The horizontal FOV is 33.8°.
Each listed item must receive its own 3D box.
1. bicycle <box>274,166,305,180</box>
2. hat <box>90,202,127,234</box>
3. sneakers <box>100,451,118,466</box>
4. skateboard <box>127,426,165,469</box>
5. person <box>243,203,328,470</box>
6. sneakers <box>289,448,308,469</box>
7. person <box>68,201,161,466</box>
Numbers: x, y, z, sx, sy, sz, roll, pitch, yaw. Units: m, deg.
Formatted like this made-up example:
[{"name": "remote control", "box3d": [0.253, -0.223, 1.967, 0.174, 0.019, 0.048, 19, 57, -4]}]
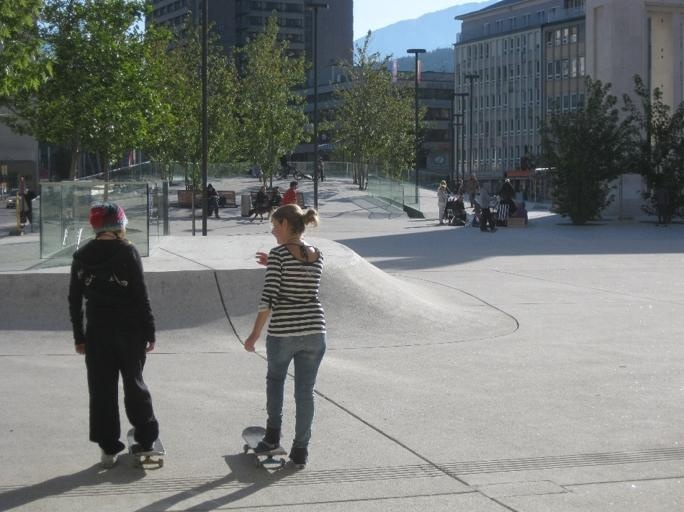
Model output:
[{"name": "bicycle", "box3d": [-3.357, -5.263, 72.365, 1.664, 1.085, 0.888, -5, 10, 6]}, {"name": "hat", "box3d": [-2.692, -0.416, 12.808, 0.387, 0.326, 0.297, 6, 35, 37]}, {"name": "sneakers", "box3d": [-2.611, 2.282, 12.632, 0.148, 0.166, 0.072, -2, 15, -12]}, {"name": "skateboard", "box3d": [-2.202, 2.178, 12.660, 0.366, 0.227, 1.222, 1, 4, -13]}, {"name": "person", "box3d": [-0.598, 0.887, 12.797, 0.809, 2.848, 0.946, 0, 14, -4]}, {"name": "sneakers", "box3d": [-0.488, 2.294, 12.708, 0.109, 0.215, 0.298, 1, 2, -4]}, {"name": "person", "box3d": [-2.540, 0.903, 12.659, 0.796, 2.803, 1.109, -8, 17, -31]}]
